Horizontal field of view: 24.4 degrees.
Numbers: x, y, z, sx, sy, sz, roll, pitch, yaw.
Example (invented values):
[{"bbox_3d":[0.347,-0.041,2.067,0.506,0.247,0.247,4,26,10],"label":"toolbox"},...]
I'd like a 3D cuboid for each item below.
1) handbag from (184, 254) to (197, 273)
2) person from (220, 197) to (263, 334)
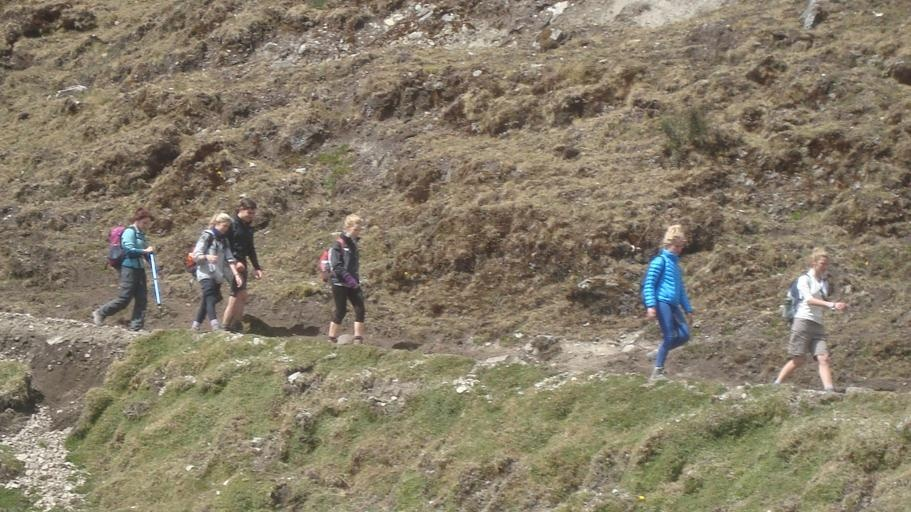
[{"bbox_3d":[-7.131,0.215,57.434,0.350,0.518,0.397,-1,31,-8],"label":"handbag"},{"bbox_3d":[-5.758,0.218,57.640,1.260,3.399,1.085,0,1,-25],"label":"person"}]
